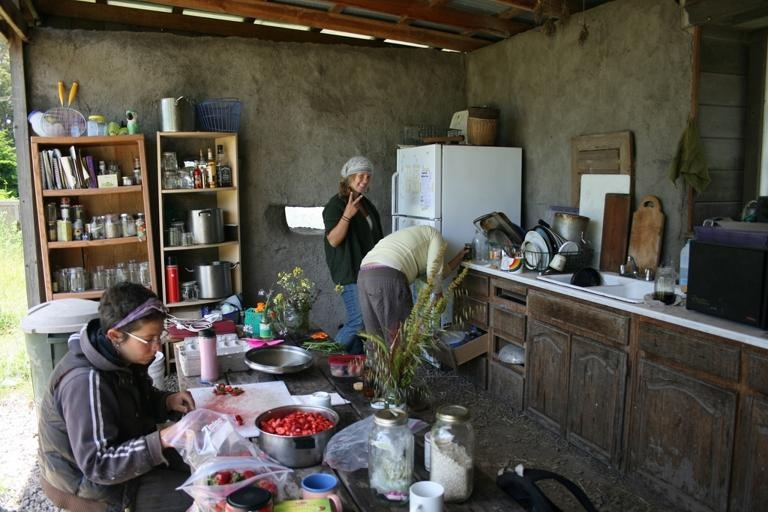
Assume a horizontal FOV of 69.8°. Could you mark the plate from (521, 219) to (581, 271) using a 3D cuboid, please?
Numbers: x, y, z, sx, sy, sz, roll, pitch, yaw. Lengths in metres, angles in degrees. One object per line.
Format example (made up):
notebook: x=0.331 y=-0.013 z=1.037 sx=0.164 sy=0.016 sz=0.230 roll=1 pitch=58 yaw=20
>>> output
plate: x=1.443 y=-0.075 z=4.770 sx=0.499 sy=0.428 sz=0.272 roll=2 pitch=12 yaw=21

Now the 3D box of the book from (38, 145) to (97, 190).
book: x=-2.870 y=-0.784 z=4.947 sx=0.362 sy=0.155 sz=0.460 roll=-5 pitch=-13 yaw=-20

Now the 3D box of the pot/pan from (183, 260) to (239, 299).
pot/pan: x=-1.712 y=0.252 z=5.485 sx=0.522 sy=0.339 sz=0.333 roll=-6 pitch=6 yaw=-22

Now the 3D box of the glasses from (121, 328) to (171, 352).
glasses: x=-1.224 y=0.416 z=2.744 sx=0.146 sy=0.046 sz=0.138 roll=8 pitch=5 yaw=35

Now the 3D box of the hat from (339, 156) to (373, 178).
hat: x=-0.283 y=-0.808 z=4.966 sx=0.207 sy=0.119 sz=0.256 roll=-9 pitch=11 yaw=-26

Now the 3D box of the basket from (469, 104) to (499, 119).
basket: x=1.020 y=-1.462 z=5.590 sx=0.334 sy=0.116 sz=0.094 roll=-7 pitch=12 yaw=-27

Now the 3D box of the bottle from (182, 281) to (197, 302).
bottle: x=-1.879 y=0.348 z=5.303 sx=0.169 sy=0.168 sz=0.166 roll=-2 pitch=-1 yaw=20

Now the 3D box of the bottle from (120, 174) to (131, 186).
bottle: x=-2.424 y=-0.716 z=5.169 sx=0.110 sy=0.091 sz=0.107 roll=0 pitch=1 yaw=-3

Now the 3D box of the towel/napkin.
towel/napkin: x=2.355 y=-0.790 z=4.227 sx=0.271 sy=0.588 sz=0.244 roll=4 pitch=29 yaw=23

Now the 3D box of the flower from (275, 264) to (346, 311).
flower: x=-0.916 y=0.295 z=5.524 sx=0.569 sy=0.472 sz=0.501 roll=10 pitch=-8 yaw=-27

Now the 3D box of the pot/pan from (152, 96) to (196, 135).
pot/pan: x=-1.942 y=-1.316 z=5.168 sx=0.374 sy=0.326 sz=0.362 roll=3 pitch=13 yaw=11

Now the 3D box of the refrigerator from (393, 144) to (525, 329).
refrigerator: x=0.727 y=-0.044 z=6.112 sx=1.156 sy=2.156 sz=1.217 roll=-1 pitch=12 yaw=-23

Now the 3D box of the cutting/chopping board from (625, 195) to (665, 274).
cutting/chopping board: x=2.151 y=-0.178 z=4.540 sx=0.250 sy=0.634 sz=0.047 roll=5 pitch=2 yaw=2

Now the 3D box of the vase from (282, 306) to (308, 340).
vase: x=-0.622 y=0.463 z=3.970 sx=0.173 sy=0.248 sz=0.152 roll=-3 pitch=13 yaw=-7

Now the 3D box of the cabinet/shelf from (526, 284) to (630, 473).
cabinet/shelf: x=1.306 y=0.985 z=4.462 sx=0.978 sy=1.231 sz=0.650 roll=22 pitch=-29 yaw=-10

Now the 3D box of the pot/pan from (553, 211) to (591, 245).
pot/pan: x=1.640 y=-0.252 z=4.841 sx=0.290 sy=0.298 sz=0.300 roll=-2 pitch=5 yaw=-33

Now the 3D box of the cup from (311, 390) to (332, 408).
cup: x=-0.337 y=0.761 z=2.916 sx=0.082 sy=0.081 sz=0.087 roll=1 pitch=2 yaw=0

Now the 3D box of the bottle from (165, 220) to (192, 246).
bottle: x=-2.002 y=-0.222 z=5.341 sx=0.222 sy=0.221 sz=0.348 roll=-7 pitch=11 yaw=-25

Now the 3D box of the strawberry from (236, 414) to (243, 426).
strawberry: x=-0.733 y=0.842 z=2.797 sx=0.011 sy=0.037 sz=0.038 roll=-35 pitch=-21 yaw=14

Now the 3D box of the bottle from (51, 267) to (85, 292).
bottle: x=-2.887 y=0.231 z=5.045 sx=0.301 sy=0.274 sz=0.163 roll=1 pitch=3 yaw=-12

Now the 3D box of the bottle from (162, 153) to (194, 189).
bottle: x=-1.967 y=-0.821 z=5.240 sx=0.303 sy=0.345 sz=0.216 roll=-5 pitch=11 yaw=-16

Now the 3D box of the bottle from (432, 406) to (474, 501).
bottle: x=0.293 y=0.867 z=2.390 sx=0.184 sy=0.403 sz=0.114 roll=-1 pitch=11 yaw=4

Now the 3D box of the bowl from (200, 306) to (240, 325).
bowl: x=-1.329 y=0.465 z=4.566 sx=0.305 sy=0.102 sz=0.214 roll=-6 pitch=6 yaw=-31

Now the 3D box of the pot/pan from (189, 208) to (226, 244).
pot/pan: x=-1.694 y=-0.290 z=5.325 sx=0.369 sy=0.322 sz=0.321 roll=-2 pitch=11 yaw=-15

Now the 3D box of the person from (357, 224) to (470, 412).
person: x=0.195 y=0.509 z=4.730 sx=0.921 sy=1.495 sz=0.609 roll=-1 pitch=0 yaw=-41

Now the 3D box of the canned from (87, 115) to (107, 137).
canned: x=-2.664 y=-1.216 z=5.078 sx=0.172 sy=0.194 sz=0.243 roll=-7 pitch=12 yaw=-27

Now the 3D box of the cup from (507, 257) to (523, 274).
cup: x=1.126 y=0.085 z=4.801 sx=0.126 sy=0.119 sz=0.128 roll=2 pitch=11 yaw=0

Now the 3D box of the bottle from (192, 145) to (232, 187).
bottle: x=-1.681 y=-0.869 z=5.365 sx=0.447 sy=0.572 sz=0.195 roll=-1 pitch=9 yaw=-22

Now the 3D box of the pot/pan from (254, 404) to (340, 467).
pot/pan: x=-0.430 y=0.865 z=2.652 sx=0.358 sy=0.159 sz=0.402 roll=4 pitch=9 yaw=12

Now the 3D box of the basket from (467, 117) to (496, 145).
basket: x=0.984 y=-1.276 z=5.580 sx=0.276 sy=0.260 sz=0.288 roll=3 pitch=8 yaw=5

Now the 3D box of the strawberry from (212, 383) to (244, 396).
strawberry: x=-0.867 y=0.755 z=3.062 sx=0.090 sy=0.028 sz=0.088 roll=6 pitch=3 yaw=0

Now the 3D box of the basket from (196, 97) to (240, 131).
basket: x=-1.641 y=-1.365 z=5.409 sx=0.378 sy=0.231 sz=0.373 roll=7 pitch=8 yaw=37

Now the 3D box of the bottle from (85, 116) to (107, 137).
bottle: x=-2.629 y=-1.191 z=5.033 sx=0.215 sy=0.229 sz=0.167 roll=-2 pitch=10 yaw=-23
